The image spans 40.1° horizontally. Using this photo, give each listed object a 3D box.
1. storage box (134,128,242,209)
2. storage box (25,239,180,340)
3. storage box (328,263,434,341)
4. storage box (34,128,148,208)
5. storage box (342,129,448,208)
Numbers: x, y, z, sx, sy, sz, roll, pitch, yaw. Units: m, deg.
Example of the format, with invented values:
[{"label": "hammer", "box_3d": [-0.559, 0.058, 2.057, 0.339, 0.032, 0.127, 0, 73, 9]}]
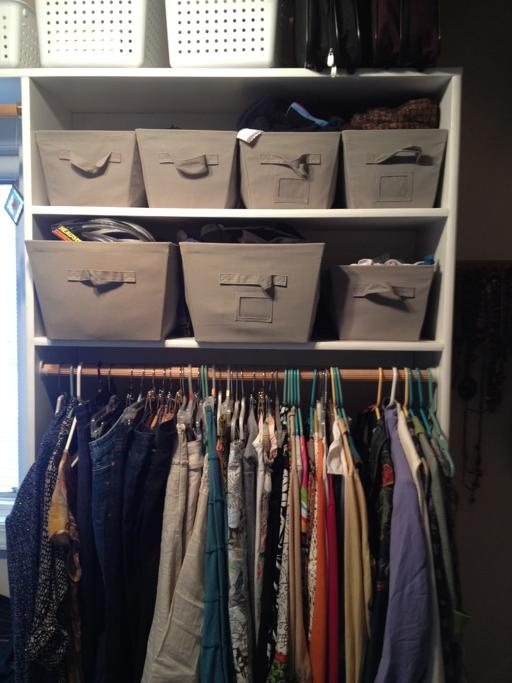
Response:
[{"label": "storage box", "box_3d": [-0.171, -0.419, 1.719, 0.174, 0.167, 0.185, -2, 11, -4]}, {"label": "storage box", "box_3d": [-0.382, -0.122, 1.725, 0.240, 0.231, 0.259, -1, 7, -4]}, {"label": "storage box", "box_3d": [0.313, -0.096, 1.752, 0.148, 0.183, 0.232, 1, 5, 3]}, {"label": "storage box", "box_3d": [-0.416, -0.427, 1.738, 0.181, 0.167, 0.189, -2, 7, -4]}, {"label": "storage box", "box_3d": [0.338, -0.417, 1.713, 0.180, 0.173, 0.178, -2, 14, 0]}]
